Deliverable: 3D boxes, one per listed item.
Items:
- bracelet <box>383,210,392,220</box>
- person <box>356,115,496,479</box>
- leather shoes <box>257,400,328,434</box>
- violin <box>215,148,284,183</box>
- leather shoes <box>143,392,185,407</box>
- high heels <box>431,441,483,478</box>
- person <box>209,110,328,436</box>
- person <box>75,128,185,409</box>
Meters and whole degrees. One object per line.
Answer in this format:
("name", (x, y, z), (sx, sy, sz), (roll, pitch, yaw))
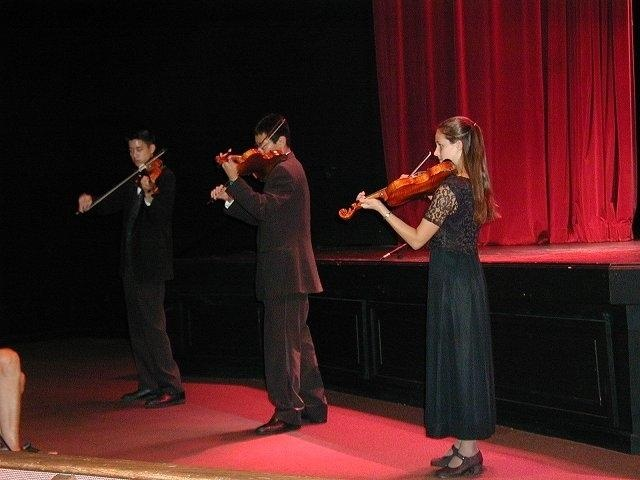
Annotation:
("bracelet", (0.343, -0.127, 2.884), (0.013, 0.031, 0.042), (11, -36, -20))
("person", (0.650, 0.200, 2.900), (0.516, 1.807, 0.255), (-4, -1, 19))
("leather shoes", (-0.170, 1.089, 3.561), (0.487, 0.209, 0.163), (2, -6, -23))
("violin", (-0.419, -0.458, 3.377), (0.355, 0.119, 0.190), (-3, -32, -36))
("leather shoes", (-1.102, 1.136, 4.019), (0.161, 0.054, 0.130), (1, 1, -23))
("high heels", (0.722, 1.143, 2.932), (0.219, 0.104, 0.167), (1, -4, -4))
("person", (-0.286, 0.209, 3.477), (0.652, 1.859, 0.396), (-3, -1, -18))
("person", (-1.280, 0.213, 4.057), (0.757, 1.773, 0.443), (-4, -1, 43))
